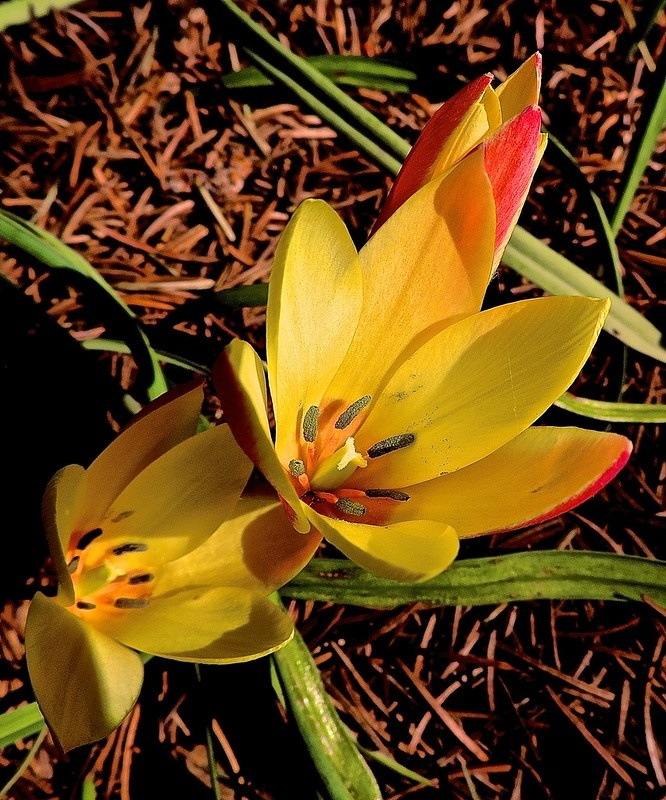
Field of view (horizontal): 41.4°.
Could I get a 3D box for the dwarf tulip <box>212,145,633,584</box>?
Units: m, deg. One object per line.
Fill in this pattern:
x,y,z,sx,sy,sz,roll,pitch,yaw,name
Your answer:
0.056,0.005,0.648,0.200,0.307,0.342,-27,50,26,dwarf tulip

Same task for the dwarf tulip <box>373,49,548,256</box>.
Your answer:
0.103,-0.194,0.698,0.115,0.108,0.160,15,68,9,dwarf tulip

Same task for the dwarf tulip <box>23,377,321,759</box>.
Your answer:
-0.126,0.146,0.686,0.220,0.304,0.198,-36,70,-12,dwarf tulip
